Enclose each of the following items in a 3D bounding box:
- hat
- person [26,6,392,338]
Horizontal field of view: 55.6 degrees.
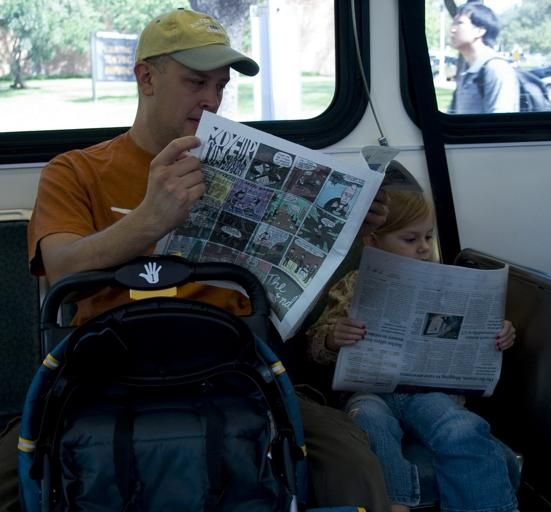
[{"bbox_3d":[-0.185,-0.479,1.250,0.170,0.252,0.134,-21,113,-64],"label":"hat"},{"bbox_3d":[-0.185,-0.122,1.262,0.745,0.593,0.888,-4,93,-31],"label":"person"}]
